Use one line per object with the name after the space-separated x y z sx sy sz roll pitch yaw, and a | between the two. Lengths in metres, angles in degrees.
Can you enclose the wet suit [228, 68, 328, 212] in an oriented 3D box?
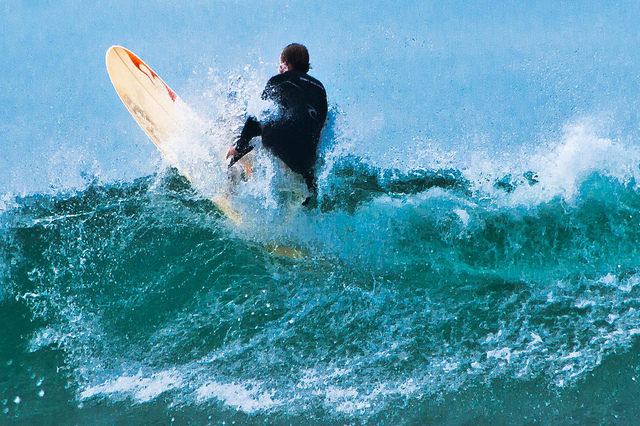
-0.638 -1.088 12.761 0.940 1.022 1.768 -31 -26 -27 | wet suit
